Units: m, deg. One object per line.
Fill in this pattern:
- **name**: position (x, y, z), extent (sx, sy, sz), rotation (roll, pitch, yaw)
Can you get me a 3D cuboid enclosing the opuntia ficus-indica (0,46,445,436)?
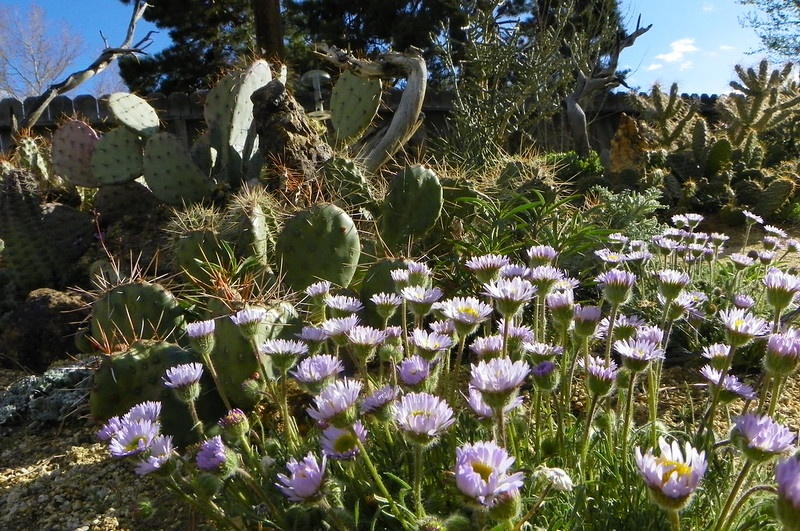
- **opuntia ficus-indica**: position (-1.165, -0.407, 6.417), extent (3.003, 3.295, 2.187), rotation (-8, 14, -18)
